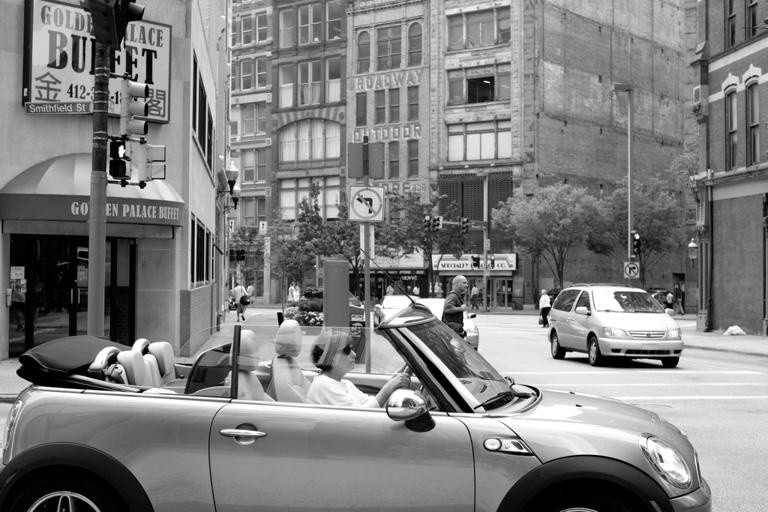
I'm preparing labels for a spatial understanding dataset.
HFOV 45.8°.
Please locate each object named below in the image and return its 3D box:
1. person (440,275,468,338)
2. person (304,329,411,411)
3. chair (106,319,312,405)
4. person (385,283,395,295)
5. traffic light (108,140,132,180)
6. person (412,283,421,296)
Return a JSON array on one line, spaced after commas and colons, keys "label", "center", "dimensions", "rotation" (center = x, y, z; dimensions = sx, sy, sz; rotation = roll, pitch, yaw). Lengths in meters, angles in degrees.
[{"label": "person", "center": [1.884, 1.297, 23.953], "dimensions": [0.687, 2.620, 0.985], "rotation": [-3, 24, -1]}, {"label": "person", "center": [-0.329, 1.257, 10.006], "dimensions": [0.975, 0.815, 0.774], "rotation": [-2, -2, -3]}, {"label": "chair", "center": [-1.914, 1.250, 10.169], "dimensions": [1.904, 0.999, 1.067], "rotation": [2, -5, 0]}, {"label": "person", "center": [0.321, 2.418, 59.873], "dimensions": [0.511, 0.801, 0.760], "rotation": [-4, 25, 9]}, {"label": "traffic light", "center": [-4.994, -1.806, 17.145], "dimensions": [0.414, 0.795, 0.279], "rotation": [7, 4, -19]}, {"label": "person", "center": [2.036, 2.111, 56.518], "dimensions": [0.532, 0.449, 0.961], "rotation": [-4, 41, 6]}]
